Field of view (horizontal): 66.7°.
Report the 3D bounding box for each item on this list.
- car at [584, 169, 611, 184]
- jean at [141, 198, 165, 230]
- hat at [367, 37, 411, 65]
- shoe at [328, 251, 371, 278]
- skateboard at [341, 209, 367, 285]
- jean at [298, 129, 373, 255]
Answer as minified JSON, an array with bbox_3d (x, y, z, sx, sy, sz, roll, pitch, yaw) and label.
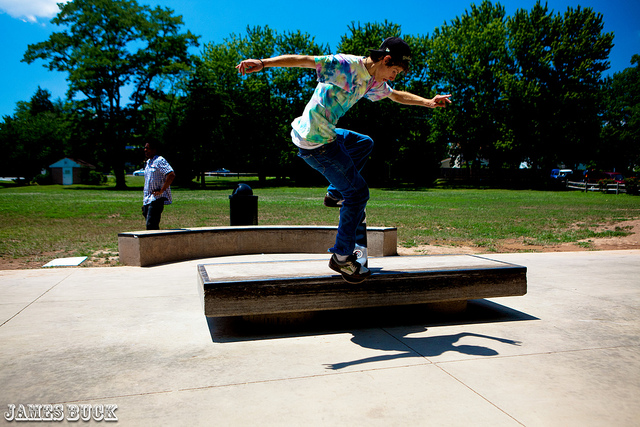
[{"bbox_3d":[24.619,-3.301,43.175,1.709,1.330,7.236,4,4,30],"label":"car"},{"bbox_3d":[-3.079,0.013,9.012,0.330,0.596,0.407,-1,5,-32],"label":"jean"},{"bbox_3d":[0.786,-1.821,5.460,0.420,0.211,0.263,20,9,-4],"label":"hat"},{"bbox_3d":[0.341,0.552,5.494,0.491,0.322,0.173,18,21,18],"label":"shoe"},{"bbox_3d":[0.472,0.435,5.819,0.252,0.921,0.158,12,-18,1],"label":"skateboard"},{"bbox_3d":[0.252,-0.276,5.704,0.638,1.473,0.882,5,5,42],"label":"jean"}]
